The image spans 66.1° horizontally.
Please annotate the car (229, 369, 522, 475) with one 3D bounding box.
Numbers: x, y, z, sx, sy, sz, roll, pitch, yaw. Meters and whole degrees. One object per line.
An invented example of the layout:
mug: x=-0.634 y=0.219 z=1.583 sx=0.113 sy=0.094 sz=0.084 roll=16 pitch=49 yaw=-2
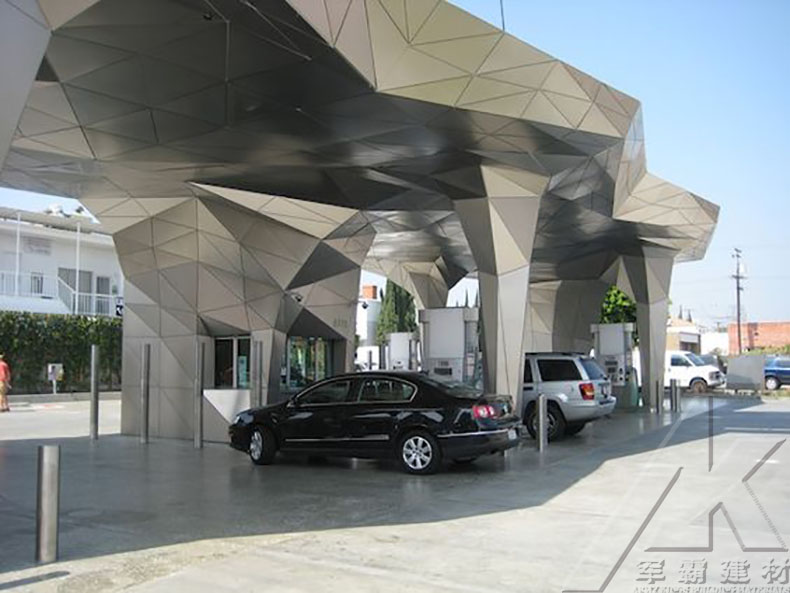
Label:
car: x=-0.260 y=2.426 z=11.937 sx=4.435 sy=1.355 sz=2.217 roll=1 pitch=-5 yaw=22
